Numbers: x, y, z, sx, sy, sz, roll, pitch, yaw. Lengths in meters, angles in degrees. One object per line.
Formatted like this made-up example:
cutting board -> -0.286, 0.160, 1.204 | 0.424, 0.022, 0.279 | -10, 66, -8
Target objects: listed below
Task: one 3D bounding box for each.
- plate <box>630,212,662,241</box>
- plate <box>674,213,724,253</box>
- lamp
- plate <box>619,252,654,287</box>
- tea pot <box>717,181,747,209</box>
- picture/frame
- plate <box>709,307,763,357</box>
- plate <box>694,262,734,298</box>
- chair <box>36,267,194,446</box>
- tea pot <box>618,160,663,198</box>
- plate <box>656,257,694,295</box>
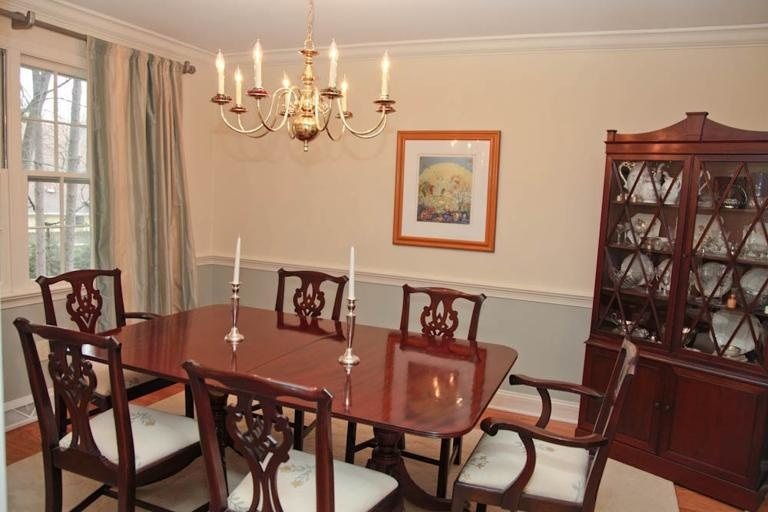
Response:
plate -> 1.897, -0.208, 3.981 | 0.163, 0.196, 0.041 | 3, 1, 39
plate -> 2.208, -0.160, 3.809 | 0.235, 0.245, 0.056 | 14, 16, 31
lamp -> -0.602, -1.507, 4.520 | 0.970, 1.123, 0.986 | 14, 21, 36
plate -> 1.798, 0.095, 3.953 | 0.219, 0.225, 0.073 | 18, 11, 37
tea pot -> 2.380, -0.415, 3.723 | 0.155, 0.181, 0.060 | -2, 2, 36
picture/frame -> 0.602, -0.596, 4.800 | 0.999, 1.110, 0.077 | 4, 6, 21
plate -> 2.403, 0.530, 3.740 | 0.287, 0.318, 0.063 | 9, 11, 34
plate -> 2.287, 0.201, 3.754 | 0.278, 0.278, 0.060 | 6, -14, -24
chair -> -1.825, 0.666, 3.708 | 0.811, 1.034, 0.836 | 6, 9, 4
tea pot -> 1.872, -0.540, 3.989 | 0.285, 0.294, 0.187 | 1, 11, 39
plate -> 2.135, 0.155, 3.935 | 0.231, 0.392, 0.238 | 0, -2, -39
